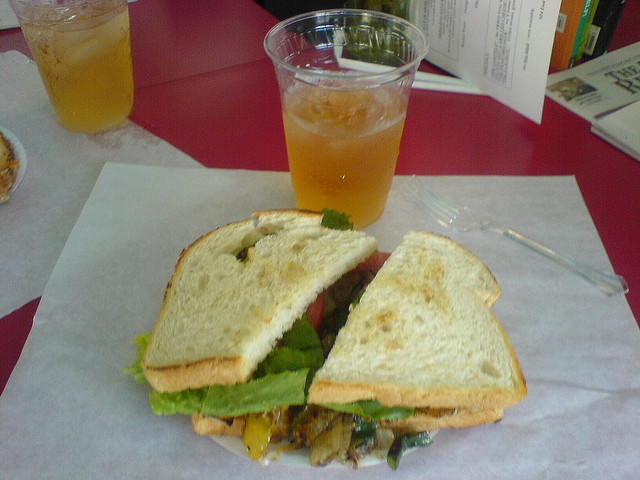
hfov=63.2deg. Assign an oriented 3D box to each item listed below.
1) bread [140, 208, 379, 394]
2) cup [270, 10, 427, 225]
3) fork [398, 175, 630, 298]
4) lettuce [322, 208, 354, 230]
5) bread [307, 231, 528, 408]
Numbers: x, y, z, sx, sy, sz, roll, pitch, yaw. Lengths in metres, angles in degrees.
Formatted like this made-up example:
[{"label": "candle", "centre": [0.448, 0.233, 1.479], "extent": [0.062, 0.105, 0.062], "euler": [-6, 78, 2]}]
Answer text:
[{"label": "bread", "centre": [-0.153, 0.135, 1.118], "extent": [0.340, 0.102, 0.390], "euler": [-15, 46, -6]}, {"label": "cup", "centre": [0.088, -0.283, 1.275], "extent": [0.333, 0.452, 0.368], "euler": [5, 44, 4]}, {"label": "fork", "centre": [0.500, 0.000, 1.301], "extent": [0.417, 0.052, 0.060], "euler": [39, 75, 22]}, {"label": "lettuce", "centre": [0.040, -0.046, 1.217], "extent": [0.048, 0.052, 0.032], "euler": [19, 94, 10]}, {"label": "bread", "centre": [0.190, 0.150, 1.097], "extent": [0.423, 0.074, 0.380], "euler": [-1, 60, 1]}]
